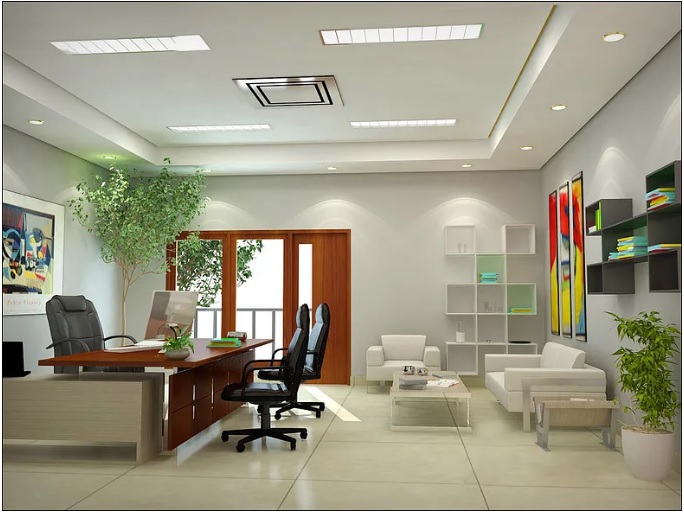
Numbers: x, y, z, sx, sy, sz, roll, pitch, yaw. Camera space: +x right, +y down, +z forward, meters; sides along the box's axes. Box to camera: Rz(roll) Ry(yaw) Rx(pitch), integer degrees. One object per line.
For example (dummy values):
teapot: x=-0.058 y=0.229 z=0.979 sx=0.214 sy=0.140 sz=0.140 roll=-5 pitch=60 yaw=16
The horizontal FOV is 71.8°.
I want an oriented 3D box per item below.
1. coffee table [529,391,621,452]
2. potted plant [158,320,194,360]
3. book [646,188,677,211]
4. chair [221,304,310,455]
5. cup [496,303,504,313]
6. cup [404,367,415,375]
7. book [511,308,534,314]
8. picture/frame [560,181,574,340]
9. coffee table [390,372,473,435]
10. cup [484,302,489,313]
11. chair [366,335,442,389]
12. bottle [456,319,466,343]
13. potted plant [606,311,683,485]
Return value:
coffee table: x=2.408 y=1.700 z=4.856 sx=0.780 sy=0.491 sz=0.521 roll=-1 pitch=-8 yaw=-1
potted plant: x=-1.787 y=0.828 z=4.897 sx=0.447 sy=0.454 sz=0.437 roll=1 pitch=-7 yaw=-1
book: x=2.748 y=-0.494 z=4.046 sx=0.152 sy=0.070 sz=0.191 roll=1 pitch=-3 yaw=-9
chair: x=-0.849 y=1.307 z=5.154 sx=0.969 sy=1.430 sz=0.947 roll=1 pitch=-10 yaw=-3
cup: x=2.668 y=0.868 z=7.983 sx=0.158 sy=0.153 sz=0.113 roll=0 pitch=-6 yaw=3
cup: x=0.870 y=1.478 z=6.128 sx=0.154 sy=0.111 sz=0.173 roll=2 pitch=-8 yaw=-5
book: x=2.977 y=0.906 z=7.763 sx=0.355 sy=0.092 sz=0.330 roll=-1 pitch=-4 yaw=15
picture/frame: x=3.196 y=0.042 z=6.730 sx=0.097 sy=2.174 sz=0.576 roll=-1 pitch=-3 yaw=18
coffee table: x=1.130 y=1.794 z=6.056 sx=0.999 sy=0.550 sz=1.724 roll=-1 pitch=-4 yaw=10
cup: x=2.435 y=0.858 z=7.959 sx=0.067 sy=0.166 sz=0.113 roll=-1 pitch=-3 yaw=17
chair: x=0.976 y=1.690 z=7.563 sx=1.169 sy=0.793 sz=0.658 roll=-1 pitch=-4 yaw=8
bottle: x=1.989 y=1.262 z=7.890 sx=0.153 sy=0.362 sz=0.316 roll=-1 pitch=-3 yaw=14
potted plant: x=2.769 y=1.215 z=4.266 sx=0.508 sy=1.431 sz=1.177 roll=-2 pitch=-3 yaw=30
